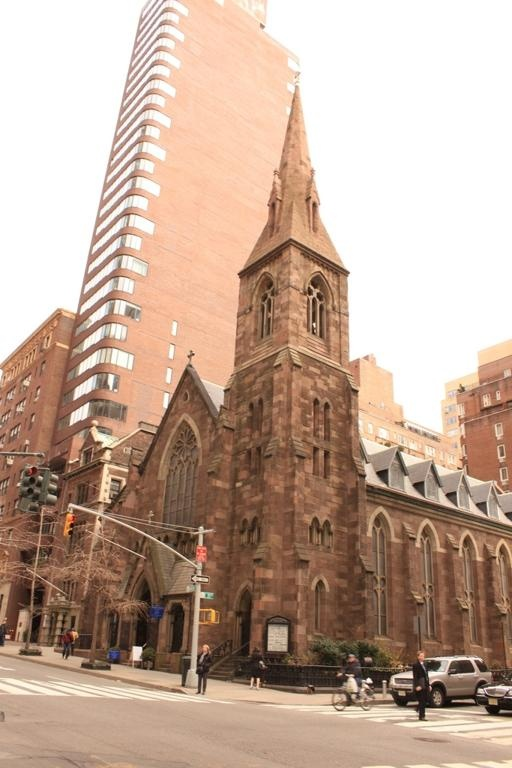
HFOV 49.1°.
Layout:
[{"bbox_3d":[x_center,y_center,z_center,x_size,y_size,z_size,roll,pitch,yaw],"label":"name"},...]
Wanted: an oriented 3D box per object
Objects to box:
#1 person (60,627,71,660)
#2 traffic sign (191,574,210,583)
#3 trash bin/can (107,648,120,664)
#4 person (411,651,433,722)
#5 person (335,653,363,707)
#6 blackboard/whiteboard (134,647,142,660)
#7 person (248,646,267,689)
[{"bbox_3d":[-10.381,14.546,30.943,0.434,1.446,2.448,8,-26,-15],"label":"person"},{"bbox_3d":[-2.114,7.540,21.473,0.222,0.328,0.687,-19,-26,39],"label":"traffic sign"},{"bbox_3d":[-7.719,14.974,30.460,0.731,0.750,2.249,6,-26,-11],"label":"trash bin/can"},{"bbox_3d":[4.260,7.894,14.513,0.373,1.585,1.778,-4,-25,13],"label":"person"},{"bbox_3d":[2.992,9.176,17.217,1.487,1.561,0.589,17,-21,-40],"label":"person"},{"bbox_3d":[-6.036,13.995,28.658,0.440,0.678,0.659,1,-24,0],"label":"blackboard/whiteboard"},{"bbox_3d":[0.052,11.169,21.749,0.524,1.393,1.355,0,-24,2],"label":"person"}]
